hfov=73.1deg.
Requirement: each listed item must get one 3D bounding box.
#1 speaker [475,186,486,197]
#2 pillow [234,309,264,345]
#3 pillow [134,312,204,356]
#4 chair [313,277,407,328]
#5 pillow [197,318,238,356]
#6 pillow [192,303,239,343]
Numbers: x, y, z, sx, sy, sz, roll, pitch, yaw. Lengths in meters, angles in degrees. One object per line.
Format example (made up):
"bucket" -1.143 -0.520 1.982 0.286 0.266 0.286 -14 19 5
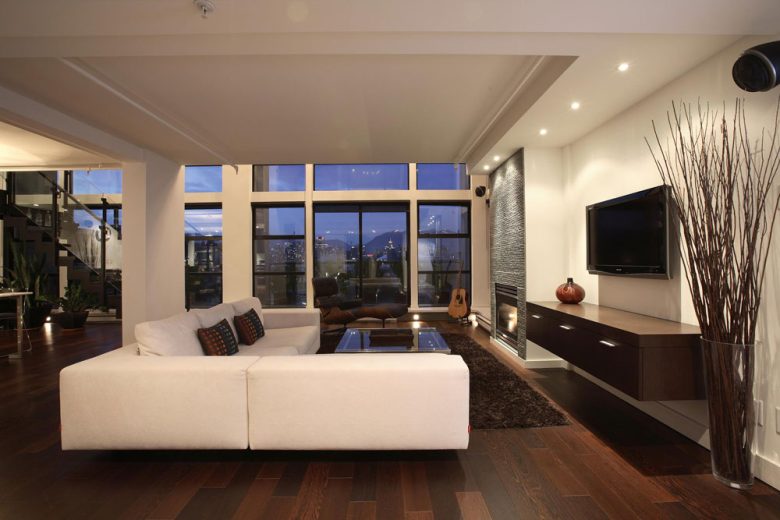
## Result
"speaker" 1.670 -1.282 9.823 0.171 0.173 0.176 2 2 -19
"pillow" -1.676 0.790 6.148 0.118 0.236 0.348 -9 10 17
"pillow" -2.130 0.729 5.105 0.198 0.186 0.504 15 3 4
"chair" -0.545 0.763 8.888 1.198 0.734 0.883 -2 0 4
"pillow" -1.828 0.809 5.494 0.134 0.264 0.392 -35 -12 16
"pillow" -1.927 0.637 5.757 0.122 0.416 0.415 -24 -5 23
